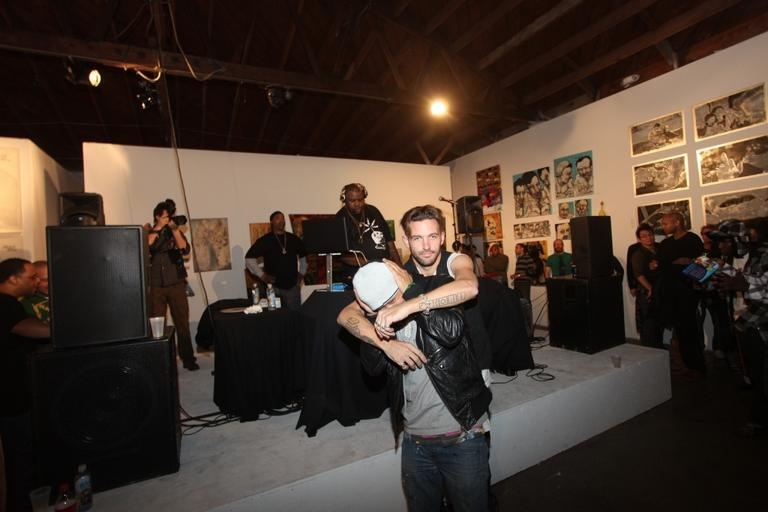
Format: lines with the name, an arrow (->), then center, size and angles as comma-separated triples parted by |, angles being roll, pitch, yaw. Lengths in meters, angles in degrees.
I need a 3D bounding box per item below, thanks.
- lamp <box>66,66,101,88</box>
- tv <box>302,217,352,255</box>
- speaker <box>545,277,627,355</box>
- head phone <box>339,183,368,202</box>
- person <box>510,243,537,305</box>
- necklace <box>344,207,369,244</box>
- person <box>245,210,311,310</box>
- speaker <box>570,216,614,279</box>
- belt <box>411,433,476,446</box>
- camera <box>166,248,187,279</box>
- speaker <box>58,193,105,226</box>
lamp -> -4.887, -2.909, 7.755 | 0.512, 0.238, 0.374 | -2, 10, -33
tv -> -0.740, -0.260, 6.041 | 0.537, 0.543, 0.421 | 0, 3, 1
speaker -> 2.854, 0.819, 7.058 | 0.954, 1.390, 1.041 | 0, -2, -44
head phone -> -0.436, -0.877, 6.514 | 0.330, 0.250, 0.587 | -5, 0, -7
person -> 2.827, 0.247, 9.548 | 0.491, 1.193, 1.789 | -5, 0, 17
necklace -> -0.373, -0.395, 6.381 | 0.324, 0.448, 0.163 | -9, -5, -14
person -> -1.759, 0.061, 7.812 | 0.952, 1.435, 0.692 | -4, -1, -14
speaker -> 2.995, -0.133, 6.816 | 0.597, 0.936, 0.257 | -4, -1, -10
belt -> 0.543, 1.626, 4.231 | 0.587, 0.108, 0.051 | -5, -1, 6
camera -> -3.126, 0.109, 7.279 | 0.306, 0.421, 0.148 | -2, 6, -17
speaker -> -3.106, -0.470, 4.951 | 0.382, 0.393, 0.376 | 3, -8, -21
